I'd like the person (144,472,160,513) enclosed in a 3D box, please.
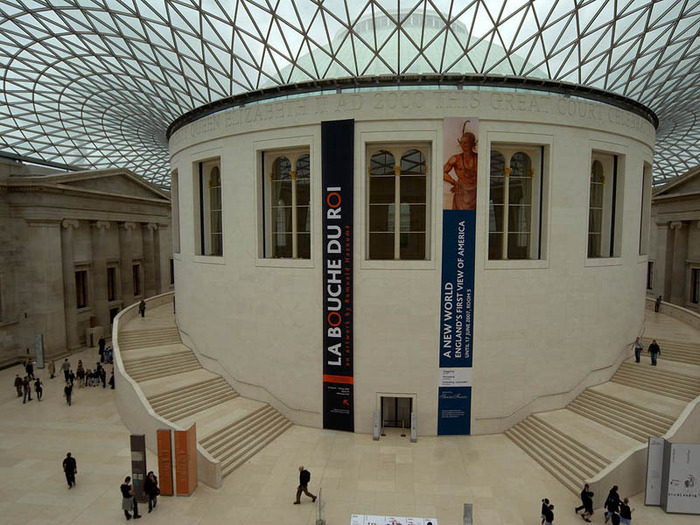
[{"bbox_3d":[-9.231,10.618,23.442,0.608,1.703,0.684,-3,3,-41],"label":"person"}]

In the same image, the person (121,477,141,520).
[{"bbox_3d":[-9.906,10.697,22.808,0.790,1.728,0.561,-2,2,-14],"label":"person"}]

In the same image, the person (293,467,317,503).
[{"bbox_3d":[-2.140,10.302,23.673,1.066,1.819,1.068,-1,2,-2],"label":"person"}]

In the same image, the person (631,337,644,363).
[{"bbox_3d":[17.480,5.394,30.850,0.447,1.274,1.333,0,3,29],"label":"person"}]

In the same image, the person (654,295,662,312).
[{"bbox_3d":[24.530,3.362,40.399,0.462,1.201,0.933,0,3,30],"label":"person"}]

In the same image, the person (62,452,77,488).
[{"bbox_3d":[-13.447,9.888,24.259,0.476,1.831,1.095,-2,3,-28],"label":"person"}]
